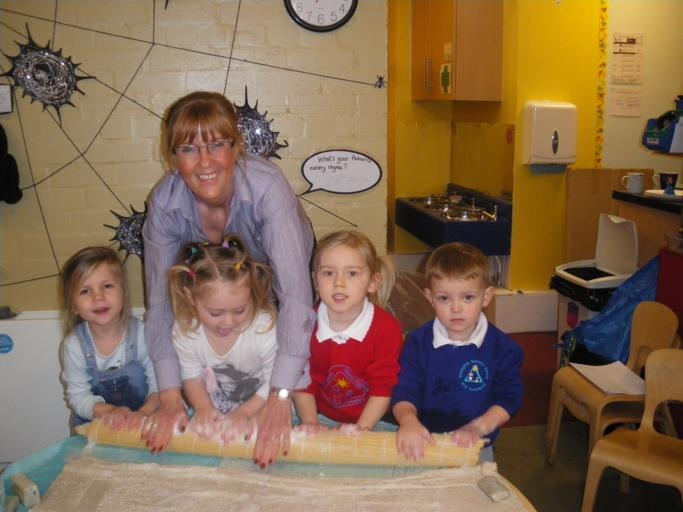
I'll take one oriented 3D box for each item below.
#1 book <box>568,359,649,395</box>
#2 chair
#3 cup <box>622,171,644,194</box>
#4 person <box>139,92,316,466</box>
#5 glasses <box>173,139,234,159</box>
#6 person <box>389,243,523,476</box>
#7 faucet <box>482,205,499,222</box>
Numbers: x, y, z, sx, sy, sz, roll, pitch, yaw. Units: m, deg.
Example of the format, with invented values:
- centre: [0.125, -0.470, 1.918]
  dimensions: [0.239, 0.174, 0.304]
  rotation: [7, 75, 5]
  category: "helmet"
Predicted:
- centre: [1.300, 0.592, 2.946]
  dimensions: [0.284, 0.018, 0.329]
  rotation: [-1, 17, 1]
  category: "book"
- centre: [1.364, 0.681, 2.988]
  dimensions: [0.581, 0.814, 0.500]
  rotation: [-6, 17, -17]
  category: "chair"
- centre: [1.979, -0.492, 4.141]
  dimensions: [0.136, 0.156, 0.356]
  rotation: [6, 18, 24]
  category: "cup"
- centre: [-0.113, -0.050, 2.153]
  dimensions: [0.597, 1.284, 1.205]
  rotation: [-1, 17, 2]
  category: "person"
- centre: [-0.454, -0.358, 2.054]
  dimensions: [0.183, 0.057, 0.038]
  rotation: [-5, 16, -12]
  category: "glasses"
- centre: [0.392, 0.372, 2.109]
  dimensions: [0.424, 0.764, 0.478]
  rotation: [-2, 17, -2]
  category: "person"
- centre: [1.184, -0.334, 4.856]
  dimensions: [0.139, 0.156, 0.093]
  rotation: [9, 12, 42]
  category: "faucet"
